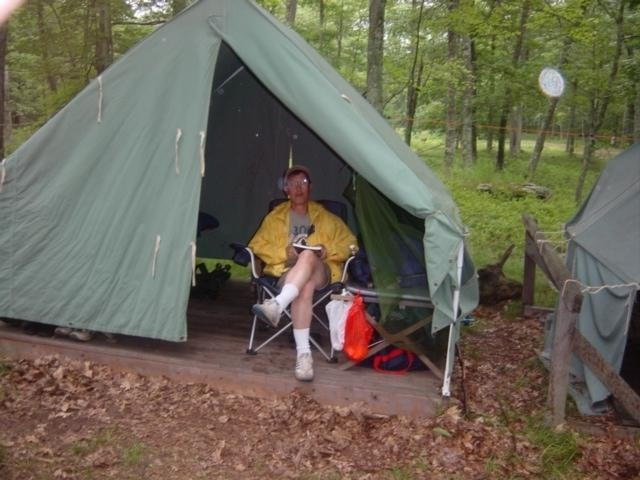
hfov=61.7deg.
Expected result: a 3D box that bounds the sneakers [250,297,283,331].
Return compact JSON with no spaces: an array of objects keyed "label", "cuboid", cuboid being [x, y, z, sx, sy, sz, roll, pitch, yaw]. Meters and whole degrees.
[{"label":"sneakers","cuboid":[-0.468,0.655,4.731,0.244,0.291,0.250,12,13,27]}]

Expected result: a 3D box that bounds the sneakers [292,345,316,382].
[{"label":"sneakers","cuboid":[-0.144,1.104,4.703,0.153,0.215,0.192,5,12,-5]}]
